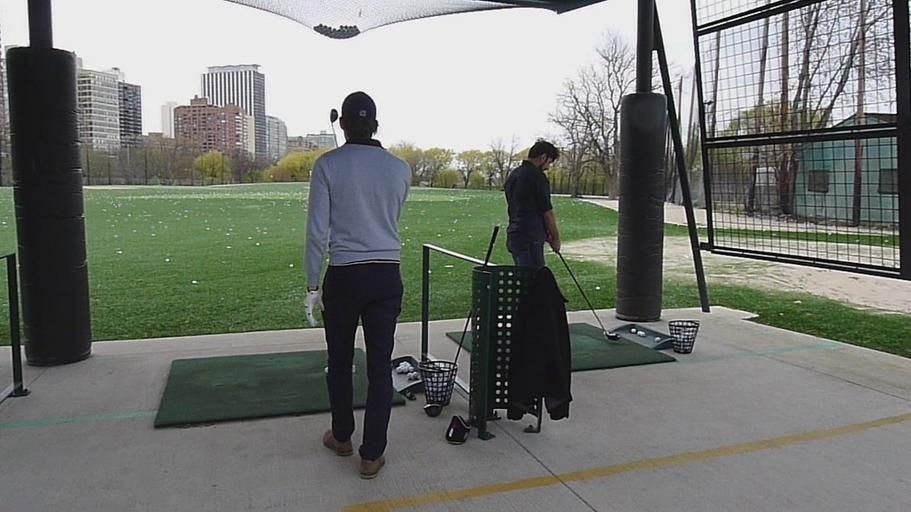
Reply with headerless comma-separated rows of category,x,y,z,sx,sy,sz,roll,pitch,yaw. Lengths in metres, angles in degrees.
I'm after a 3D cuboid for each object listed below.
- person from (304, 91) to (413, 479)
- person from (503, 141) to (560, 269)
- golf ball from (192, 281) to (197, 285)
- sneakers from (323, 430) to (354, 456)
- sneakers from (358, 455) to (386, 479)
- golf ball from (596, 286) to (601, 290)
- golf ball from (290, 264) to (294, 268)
person,-0.900,0.232,4.940,0.955,3.372,0.925,0,12,1
person,1.018,-0.660,7.187,0.701,1.685,0.680,0,12,4
golf ball,-4.961,0.510,10.395,0.096,0.039,0.076,8,5,24
sneakers,-1.107,1.755,5.145,0.152,0.137,0.351,-4,14,-36
sneakers,-0.751,1.901,4.926,0.109,0.118,0.293,0,3,12
golf ball,2.756,0.628,10.576,0.082,0.062,0.069,1,-8,17
golf ball,-3.644,0.223,12.121,0.088,0.050,0.082,0,5,0
